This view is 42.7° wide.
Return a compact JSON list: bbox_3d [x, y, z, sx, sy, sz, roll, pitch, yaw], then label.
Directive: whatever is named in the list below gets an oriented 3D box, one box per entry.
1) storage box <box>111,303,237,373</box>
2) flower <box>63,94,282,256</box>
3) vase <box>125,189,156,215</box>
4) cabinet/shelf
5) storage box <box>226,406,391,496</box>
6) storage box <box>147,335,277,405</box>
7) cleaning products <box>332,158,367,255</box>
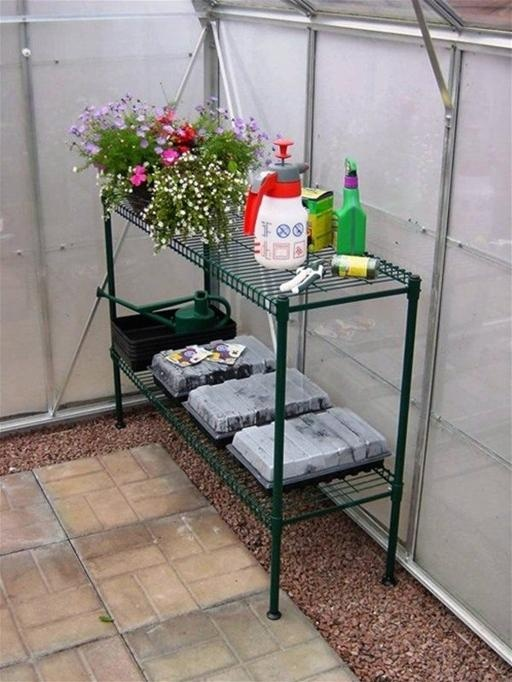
[{"bbox_3d":[-0.409,-0.072,2.953,0.593,0.281,0.449,-11,25,-28],"label":"storage box"},{"bbox_3d":[-0.369,-0.623,2.394,0.487,0.513,0.922,-20,27,-40],"label":"flower"},{"bbox_3d":[-0.434,-0.504,2.369,0.115,0.089,0.038,1,37,49],"label":"vase"},{"bbox_3d":[0.036,0.247,2.289,0.493,0.981,1.327,-14,36,-25],"label":"cabinet/shelf"},{"bbox_3d":[0.184,0.330,2.059,0.380,0.091,0.234,-10,31,-22],"label":"storage box"},{"bbox_3d":[-0.144,0.117,2.594,0.442,0.111,0.273,-9,21,-20],"label":"storage box"},{"bbox_3d":[0.267,-0.374,1.864,0.096,0.271,0.081,-4,27,-6],"label":"cleaning products"}]
